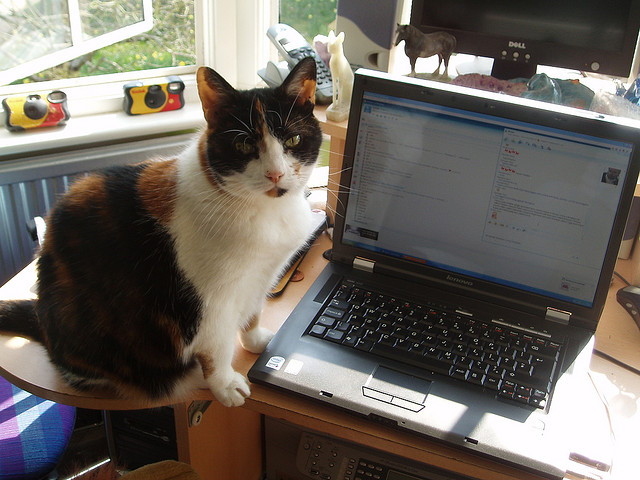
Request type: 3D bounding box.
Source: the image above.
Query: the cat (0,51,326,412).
[{"bbox_3d":[-0.335,-0.035,1.014,0.627,0.636,0.329,6,25,2],"label":"cat"}]

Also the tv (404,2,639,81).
[{"bbox_3d":[0.484,-0.471,1.216,0.391,0.120,0.281,8,-18,14],"label":"tv"}]

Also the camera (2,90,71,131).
[{"bbox_3d":[-0.907,-0.418,1.669,0.184,0.114,0.060,-12,8,-24],"label":"camera"}]
